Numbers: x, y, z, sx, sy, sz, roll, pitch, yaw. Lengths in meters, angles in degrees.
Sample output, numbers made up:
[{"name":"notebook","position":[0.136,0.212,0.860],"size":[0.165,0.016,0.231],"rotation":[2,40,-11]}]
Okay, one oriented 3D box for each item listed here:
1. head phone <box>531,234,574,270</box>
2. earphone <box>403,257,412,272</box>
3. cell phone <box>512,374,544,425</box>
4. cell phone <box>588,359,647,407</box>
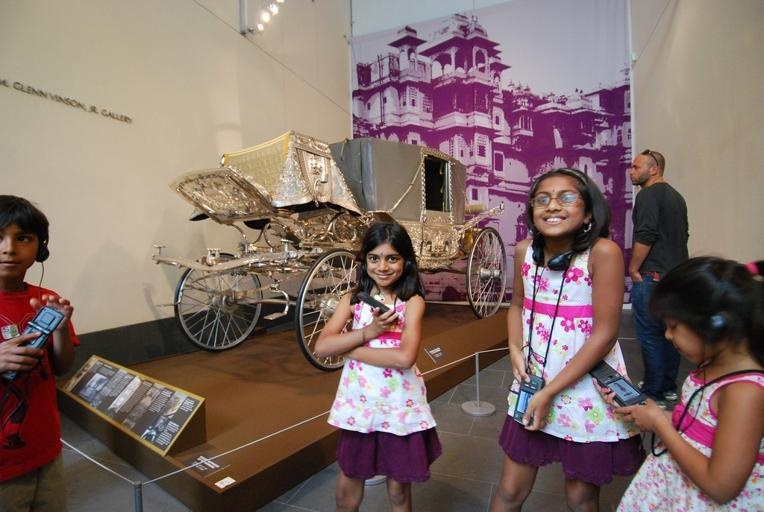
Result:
[{"name":"head phone","position":[0.859,-0.020,2.404],"size":[0.146,0.138,0.060],"rotation":[14,-29,24]},{"name":"earphone","position":[0.134,0.045,2.554],"size":[0.063,0.059,0.048],"rotation":[3,-2,22]},{"name":"cell phone","position":[0.718,0.693,2.363],"size":[0.174,0.210,0.084],"rotation":[-6,7,-13]},{"name":"cell phone","position":[1.109,0.603,2.245],"size":[0.127,0.051,0.255],"rotation":[-26,37,-11]}]
